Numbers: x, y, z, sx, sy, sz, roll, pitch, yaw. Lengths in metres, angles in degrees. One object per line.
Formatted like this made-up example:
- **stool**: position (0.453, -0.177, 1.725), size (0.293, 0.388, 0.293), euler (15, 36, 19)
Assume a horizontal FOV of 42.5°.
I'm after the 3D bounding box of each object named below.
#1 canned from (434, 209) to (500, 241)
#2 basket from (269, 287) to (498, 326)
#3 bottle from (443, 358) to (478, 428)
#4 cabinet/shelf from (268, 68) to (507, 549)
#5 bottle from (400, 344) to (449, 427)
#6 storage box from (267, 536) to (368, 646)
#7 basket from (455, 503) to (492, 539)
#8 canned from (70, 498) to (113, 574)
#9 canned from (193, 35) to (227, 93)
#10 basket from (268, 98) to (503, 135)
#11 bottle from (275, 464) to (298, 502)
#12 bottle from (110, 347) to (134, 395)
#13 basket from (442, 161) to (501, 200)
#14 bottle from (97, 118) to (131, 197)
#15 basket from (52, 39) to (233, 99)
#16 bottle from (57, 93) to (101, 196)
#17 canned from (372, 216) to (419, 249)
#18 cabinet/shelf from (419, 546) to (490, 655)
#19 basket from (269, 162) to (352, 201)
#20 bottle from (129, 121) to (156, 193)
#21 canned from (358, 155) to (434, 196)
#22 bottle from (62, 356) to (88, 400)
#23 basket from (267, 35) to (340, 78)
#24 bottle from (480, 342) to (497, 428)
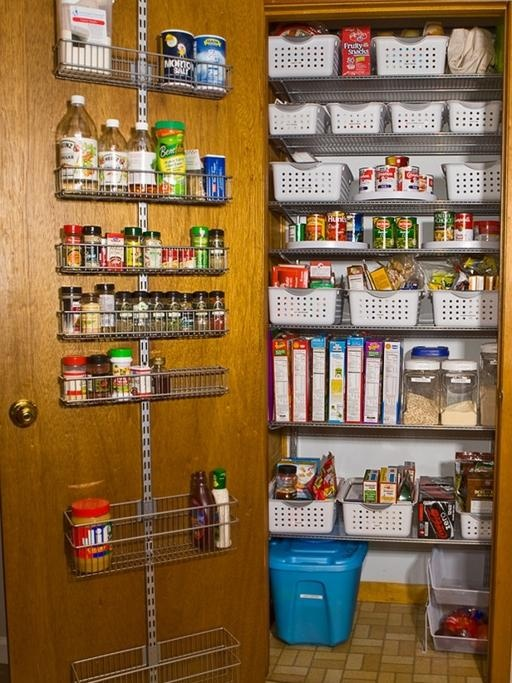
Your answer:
- **canned**: position (0.674, -0.365, 2.112), size (0.179, 0.127, 0.103), euler (-2, 11, -2)
- **basket**: position (0.395, -0.110, 2.115), size (0.707, 0.129, 0.136), euler (1, 8, 10)
- **bottle**: position (0.659, 0.162, 2.137), size (0.120, 0.200, 0.182), euler (1, 8, 17)
- **cabinet/shelf**: position (0.133, -0.102, 3.273), size (0.898, 1.586, 2.777), euler (7, 7, -11)
- **bottle**: position (0.546, 0.131, 2.175), size (0.202, 0.335, 0.224), euler (1, 3, 11)
- **storage box**: position (0.215, 0.814, 2.169), size (0.330, 0.325, 0.313), euler (0, 2, 8)
- **basket**: position (0.701, 0.579, 2.117), size (0.086, 0.062, 0.117), euler (0, -9, 3)
- **canned**: position (-0.426, 0.515, 1.690), size (0.098, 0.205, 0.125), euler (-3, 8, -18)
- **canned**: position (-0.119, -0.730, 1.774), size (0.121, 0.147, 0.127), euler (0, 3, -1)
- **basket**: position (0.404, -0.709, 2.122), size (0.710, 0.133, 0.218), euler (0, 8, 7)
- **bottle**: position (0.095, 0.479, 2.206), size (0.091, 0.148, 0.094), euler (0, -4, 0)
- **bottle**: position (-0.356, 0.075, 1.735), size (0.057, 0.127, 0.141), euler (-2, 8, -11)
- **basket**: position (0.674, -0.492, 2.047), size (0.112, 0.080, 0.159), euler (1, 0, 8)
- **bottle**: position (-0.372, -0.471, 1.698), size (0.076, 0.187, 0.128), euler (-2, 8, -11)
- **basket**: position (-0.282, -0.709, 1.723), size (0.484, 0.105, 0.137), euler (-6, 10, -31)
- **bottle**: position (-0.454, -0.491, 1.660), size (0.104, 0.240, 0.124), euler (-3, 8, -19)
- **canned**: position (0.457, -0.353, 2.166), size (0.144, 0.103, 0.144), euler (1, 8, 11)
- **cabinet/shelf**: position (0.692, 0.886, 2.290), size (0.212, 0.323, 0.141), euler (0, -13, 10)
- **basket**: position (0.168, -0.499, 2.128), size (0.176, 0.088, 0.146), euler (0, -4, 12)
- **bottle**: position (-0.301, -0.474, 1.723), size (0.075, 0.187, 0.120), euler (-2, 8, -10)
- **canned**: position (0.455, -0.537, 2.135), size (0.243, 0.133, 0.124), euler (-1, 8, -4)
- **bottle**: position (-0.463, 0.093, 1.674), size (0.063, 0.111, 0.096), euler (-3, 8, -17)
- **basket**: position (0.134, -0.861, 2.010), size (0.127, 0.076, 0.175), euler (2, 17, 8)
- **bottle**: position (0.716, 0.132, 2.040), size (0.051, 0.278, 0.345), euler (1, 8, 19)
